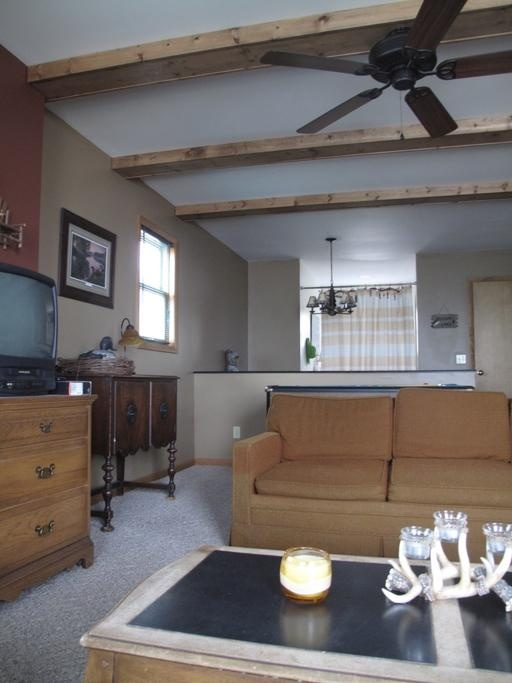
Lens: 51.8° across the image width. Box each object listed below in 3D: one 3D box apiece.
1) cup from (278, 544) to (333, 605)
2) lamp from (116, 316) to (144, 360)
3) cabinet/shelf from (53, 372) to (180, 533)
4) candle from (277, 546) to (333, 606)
[{"bbox_3d":[0.089,0.424,0.956,0.094,0.080,0.093,1,-7,0],"label":"cup"},{"bbox_3d":[-0.845,-0.042,3.748,0.240,0.270,0.261,5,-16,-32],"label":"lamp"},{"bbox_3d":[-0.766,0.607,2.897,0.367,0.847,0.980,-1,-1,14],"label":"cabinet/shelf"},{"bbox_3d":[0.090,0.414,0.958,0.094,0.080,0.093,1,-8,-4],"label":"candle"}]
